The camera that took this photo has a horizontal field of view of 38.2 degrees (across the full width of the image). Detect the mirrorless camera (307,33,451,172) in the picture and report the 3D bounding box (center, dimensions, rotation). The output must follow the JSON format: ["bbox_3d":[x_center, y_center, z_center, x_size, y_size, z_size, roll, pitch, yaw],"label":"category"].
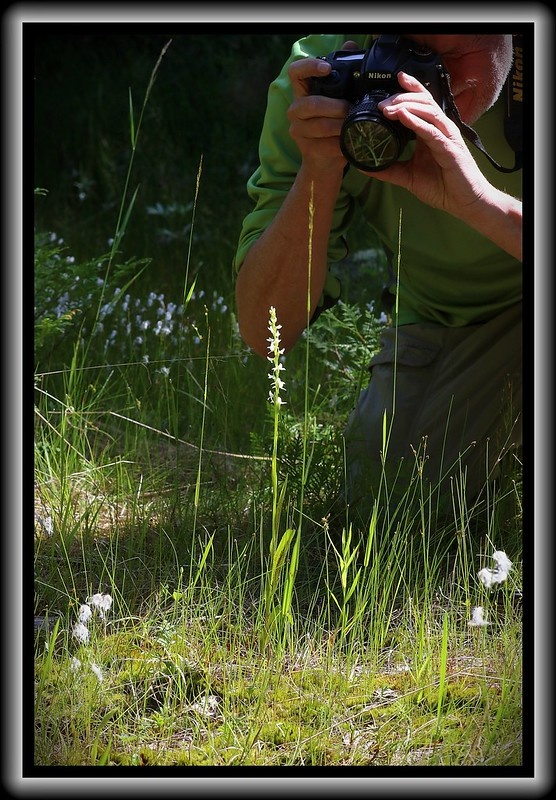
[{"bbox_3d":[0.177,-0.544,1.438,0.264,0.243,0.152,3,-2,11],"label":"mirrorless camera"}]
